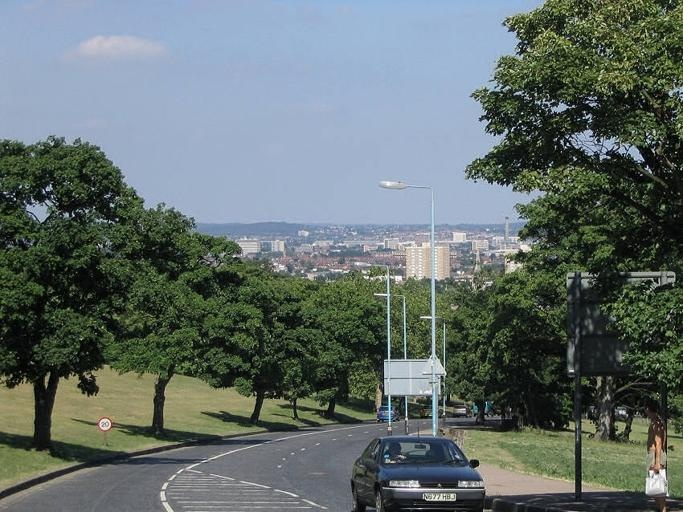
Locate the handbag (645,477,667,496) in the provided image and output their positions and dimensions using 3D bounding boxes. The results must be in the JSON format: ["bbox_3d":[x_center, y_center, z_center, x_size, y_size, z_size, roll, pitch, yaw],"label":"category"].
[{"bbox_3d":[9.912,7.227,42.528,0.538,0.558,0.591,0,-12,6],"label":"handbag"}]

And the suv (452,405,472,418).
[{"bbox_3d":[11.098,14.415,125.806,1.455,1.270,2.857,-1,-8,8],"label":"suv"}]
